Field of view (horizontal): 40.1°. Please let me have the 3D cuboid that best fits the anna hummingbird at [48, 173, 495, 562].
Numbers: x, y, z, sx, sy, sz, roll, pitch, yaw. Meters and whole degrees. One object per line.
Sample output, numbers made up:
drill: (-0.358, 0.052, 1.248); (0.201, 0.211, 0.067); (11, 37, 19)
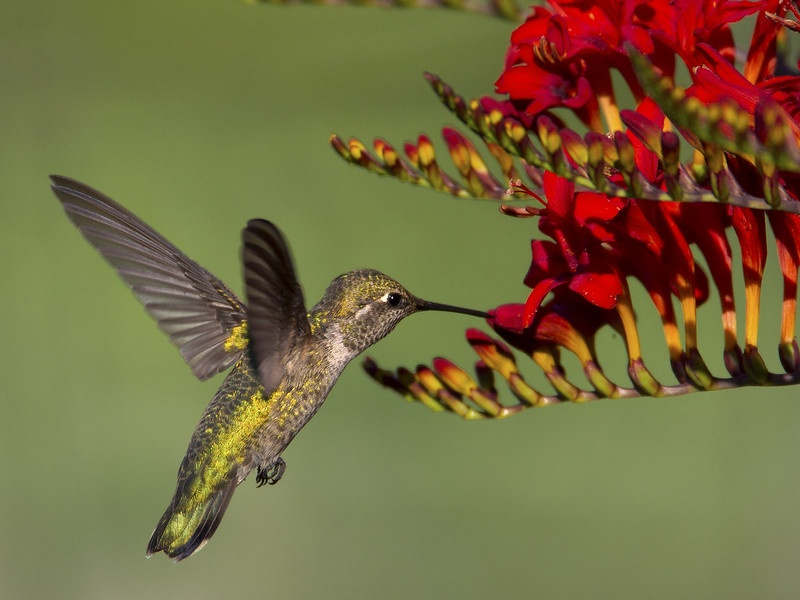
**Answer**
anna hummingbird: (-0.336, 0.076, 2.231); (0.700, 0.491, 0.725); (-27, -57, 19)
